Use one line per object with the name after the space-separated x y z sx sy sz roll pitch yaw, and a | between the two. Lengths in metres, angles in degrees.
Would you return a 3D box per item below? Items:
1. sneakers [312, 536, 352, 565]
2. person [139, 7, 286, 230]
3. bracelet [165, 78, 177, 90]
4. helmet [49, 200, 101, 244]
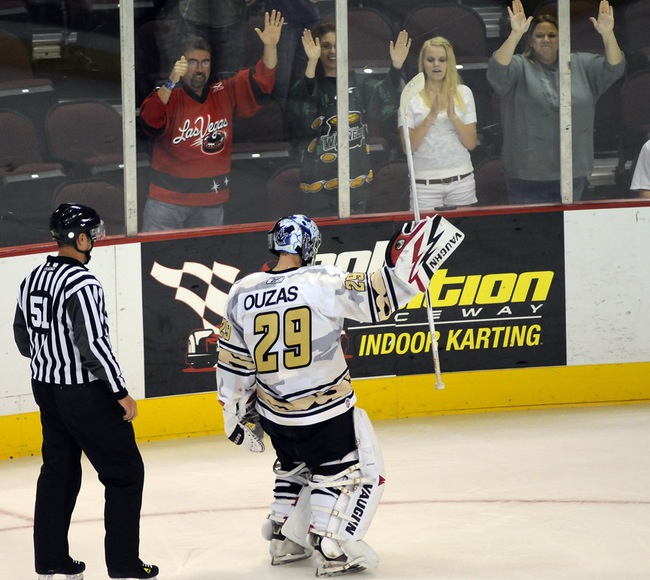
0.014 1.218 5.632 0.123 0.140 0.061 9 38 11 | sneakers
-0.744 -1.096 7.800 0.993 1.341 0.273 -6 14 -10 | person
-0.982 -1.331 7.762 0.056 0.064 0.049 -6 5 -13 | bracelet
-1.149 -0.278 5.728 0.238 0.194 0.186 -5 3 -34 | helmet
